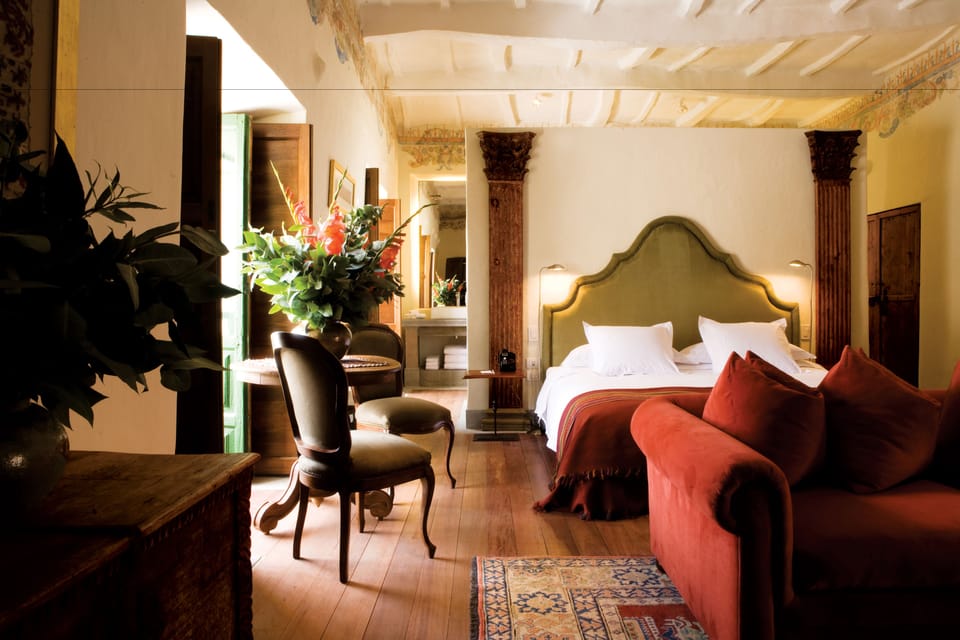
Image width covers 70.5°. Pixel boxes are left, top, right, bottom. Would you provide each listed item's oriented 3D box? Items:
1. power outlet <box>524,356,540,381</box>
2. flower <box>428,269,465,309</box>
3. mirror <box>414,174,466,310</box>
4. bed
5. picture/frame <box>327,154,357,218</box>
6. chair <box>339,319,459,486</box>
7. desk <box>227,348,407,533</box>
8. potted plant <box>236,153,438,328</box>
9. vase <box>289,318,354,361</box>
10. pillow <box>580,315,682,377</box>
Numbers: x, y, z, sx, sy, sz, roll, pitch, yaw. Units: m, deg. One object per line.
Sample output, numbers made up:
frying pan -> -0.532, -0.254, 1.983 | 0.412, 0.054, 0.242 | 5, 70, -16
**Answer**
power outlet -> 0.471, 0.445, 6.158 | 0.205, 0.301, 0.039 | 0, -1, 3
flower -> -0.425, -0.377, 9.091 | 0.401, 0.494, 0.465 | 1, -4, -14
mirror -> -0.608, -1.089, 9.758 | 0.582, 1.668, 1.745 | 0, 1, 0
bed -> 1.383, 0.305, 5.323 | 2.203, 1.850, 2.190 | -1, 0, -2
picture/frame -> -1.177, -1.099, 5.792 | 0.033, 0.467, 0.807 | 0, 14, -23
chair -> -0.605, 0.588, 4.665 | 0.673, 1.149, 0.656 | -2, 1, 40
desk -> -0.867, 0.719, 3.892 | 0.983, 0.963, 0.979 | -2, 6, -38
potted plant -> -0.926, -0.356, 3.990 | 0.915, 0.830, 0.931 | 0, 0, 33
vase -> -0.900, 0.120, 3.804 | 0.226, 0.165, 0.233 | 3, 3, 41
pillow -> 1.261, 0.249, 5.694 | 0.733, 0.332, 0.564 | 1, 9, 7
